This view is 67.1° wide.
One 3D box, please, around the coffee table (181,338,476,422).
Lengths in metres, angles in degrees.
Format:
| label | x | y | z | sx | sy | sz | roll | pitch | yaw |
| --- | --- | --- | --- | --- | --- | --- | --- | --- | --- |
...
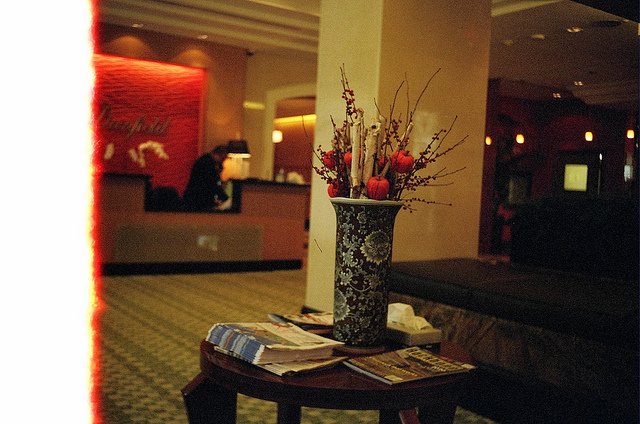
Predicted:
| label | x | y | z | sx | sy | sz | roll | pitch | yaw |
| --- | --- | --- | --- | --- | --- | --- | --- | --- | --- |
| coffee table | 0.000 | 0.596 | 1.842 | 0.604 | 0.420 | 0.575 | 1 | -2 | 0 |

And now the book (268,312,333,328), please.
| label | x | y | z | sx | sy | sz | roll | pitch | yaw |
| --- | --- | --- | --- | --- | --- | --- | --- | --- | --- |
| book | -0.049 | 0.468 | 2.101 | 0.135 | 0.030 | 0.131 | 3 | 0 | -25 |

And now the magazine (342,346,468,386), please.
| label | x | y | z | sx | sy | sz | roll | pitch | yaw |
| --- | --- | --- | --- | --- | --- | --- | --- | --- | --- |
| magazine | 0.292 | 0.555 | 1.742 | 0.389 | 0.032 | 0.328 | 1 | -1 | -43 |

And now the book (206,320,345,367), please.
| label | x | y | z | sx | sy | sz | roll | pitch | yaw |
| --- | --- | --- | --- | --- | --- | --- | --- | --- | --- |
| book | -0.129 | 0.483 | 1.846 | 0.472 | 0.083 | 0.380 | 2 | 7 | -41 |

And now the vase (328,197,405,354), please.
| label | x | y | z | sx | sy | sz | roll | pitch | yaw |
| --- | --- | --- | --- | --- | --- | --- | --- | --- | --- |
| vase | 0.166 | 0.212 | 1.948 | 0.284 | 0.481 | 0.275 | -1 | 3 | -1 |
